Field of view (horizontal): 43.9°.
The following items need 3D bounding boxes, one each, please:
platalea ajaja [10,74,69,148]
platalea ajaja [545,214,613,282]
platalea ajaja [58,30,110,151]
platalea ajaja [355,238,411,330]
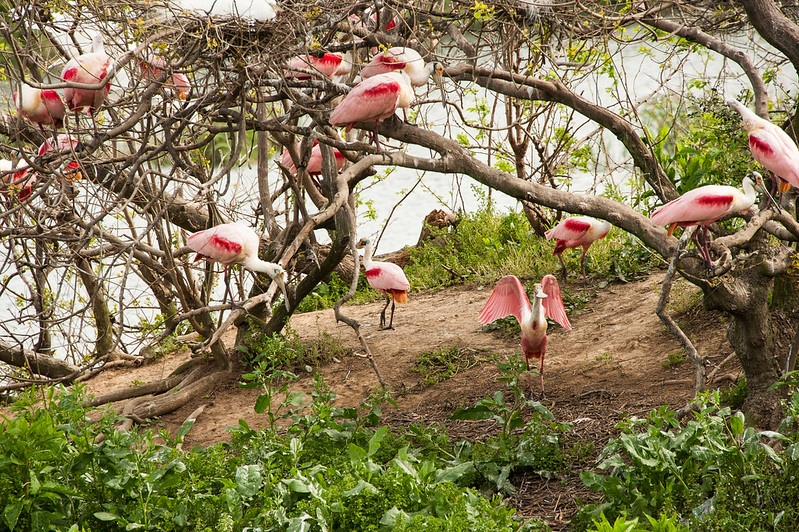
[{"bbox_3d":[-3.274,-1.409,9.007,0.416,0.473,0.635,-27,12,-32],"label":"platalea ajaja"},{"bbox_3d":[2.193,-0.229,12.150,0.724,0.749,0.831,-11,-4,-7],"label":"platalea ajaja"},{"bbox_3d":[-2.753,-1.610,8.863,0.440,0.674,0.739,-10,-4,-22],"label":"platalea ajaja"},{"bbox_3d":[-0.156,0.207,11.902,0.484,0.927,1.087,-11,-4,-2],"label":"platalea ajaja"}]
